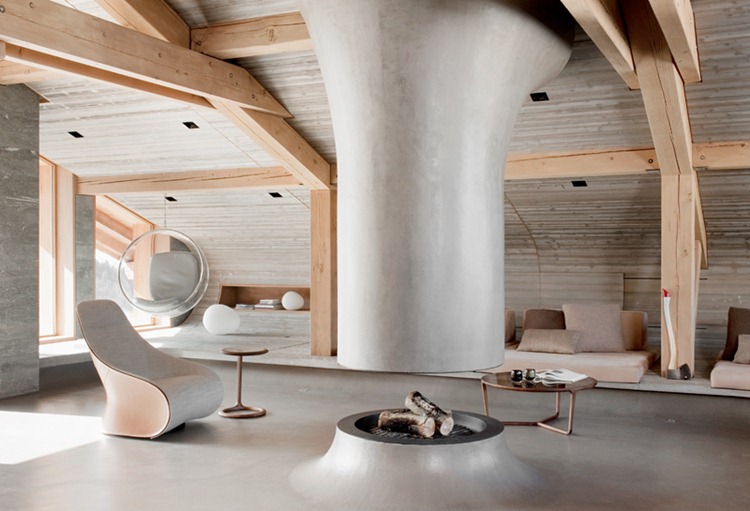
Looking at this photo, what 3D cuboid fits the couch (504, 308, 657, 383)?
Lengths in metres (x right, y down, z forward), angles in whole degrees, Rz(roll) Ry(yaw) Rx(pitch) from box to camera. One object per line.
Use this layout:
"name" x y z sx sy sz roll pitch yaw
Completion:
"couch" 2.284 0.954 6.110 1.615 0.515 1.173 2 17 37

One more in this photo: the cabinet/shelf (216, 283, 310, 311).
"cabinet/shelf" -1.910 0.721 9.271 1.713 0.430 0.475 -1 -4 23

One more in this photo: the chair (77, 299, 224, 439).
"chair" -2.166 1.020 4.935 1.137 1.196 0.684 -1 -4 17

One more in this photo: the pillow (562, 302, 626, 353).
"pillow" 2.575 0.865 6.165 0.711 0.445 0.298 -1 -33 15

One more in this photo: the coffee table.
"coffee table" 1.557 1.421 4.980 1.068 0.304 0.978 -6 -11 30

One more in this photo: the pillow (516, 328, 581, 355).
"pillow" 1.976 0.974 6.029 0.651 0.238 0.332 -1 -4 18

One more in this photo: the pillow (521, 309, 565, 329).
"pillow" 2.132 0.794 6.625 0.464 0.219 0.307 0 -1 30

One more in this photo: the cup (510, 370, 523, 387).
"cup" 1.272 1.089 4.702 0.121 0.105 0.105 -4 -6 29
